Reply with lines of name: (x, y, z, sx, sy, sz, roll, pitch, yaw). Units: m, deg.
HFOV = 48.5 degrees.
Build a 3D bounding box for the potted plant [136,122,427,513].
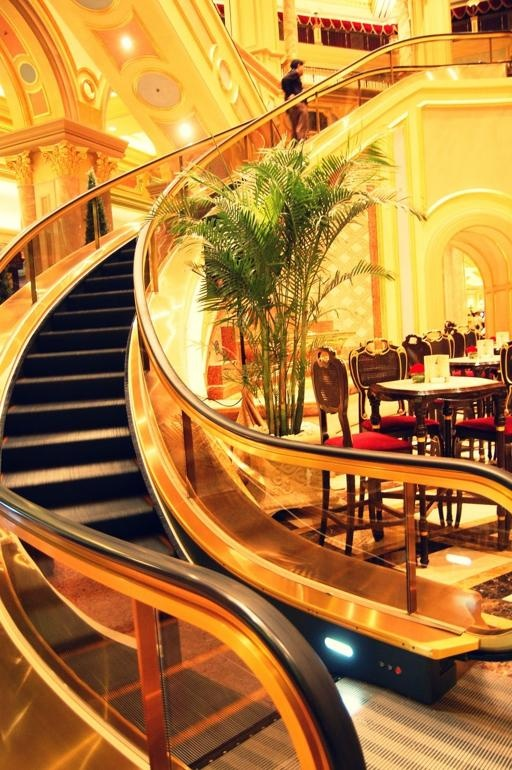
potted plant: (0.209, -0.543, 3.771, 1.727, 2.133, 1.608, -13, 22, -19)
